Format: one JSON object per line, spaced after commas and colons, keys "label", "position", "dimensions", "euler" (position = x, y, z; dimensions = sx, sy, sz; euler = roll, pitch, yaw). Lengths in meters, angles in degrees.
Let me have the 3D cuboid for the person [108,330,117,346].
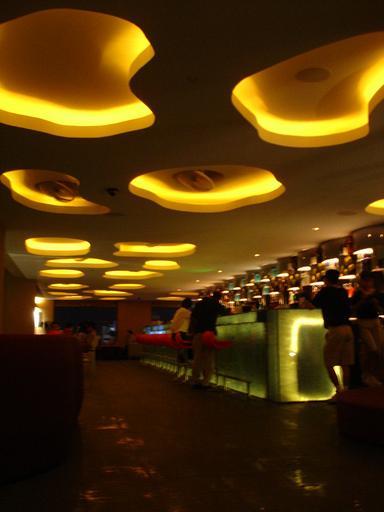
{"label": "person", "position": [-5.250, 5.582, 28.299], "dimensions": [0.566, 0.868, 0.219], "euler": [-5, -27, 23]}
